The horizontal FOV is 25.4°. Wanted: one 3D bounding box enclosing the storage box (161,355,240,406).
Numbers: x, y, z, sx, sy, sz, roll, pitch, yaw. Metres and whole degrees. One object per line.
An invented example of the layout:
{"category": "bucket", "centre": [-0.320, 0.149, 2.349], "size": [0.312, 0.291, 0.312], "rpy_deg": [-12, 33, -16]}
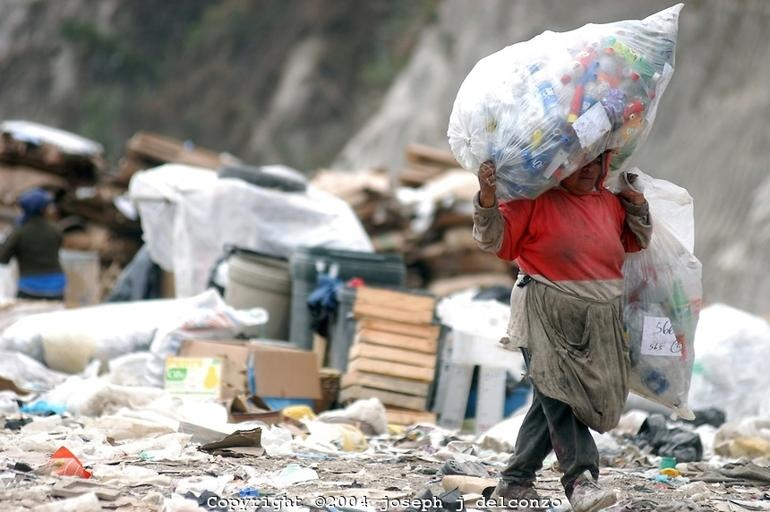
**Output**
{"category": "storage box", "centre": [-1.973, 1.308, 18.312], "size": [0.847, 0.494, 0.486], "rpy_deg": [3, -6, 3]}

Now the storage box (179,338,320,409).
{"category": "storage box", "centre": [-1.251, 1.246, 18.685], "size": [0.894, 0.530, 0.884], "rpy_deg": [2, -4, 9]}

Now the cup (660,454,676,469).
{"category": "cup", "centre": [2.899, 2.112, 17.442], "size": [0.126, 0.112, 0.122], "rpy_deg": [0, -5, 0]}
